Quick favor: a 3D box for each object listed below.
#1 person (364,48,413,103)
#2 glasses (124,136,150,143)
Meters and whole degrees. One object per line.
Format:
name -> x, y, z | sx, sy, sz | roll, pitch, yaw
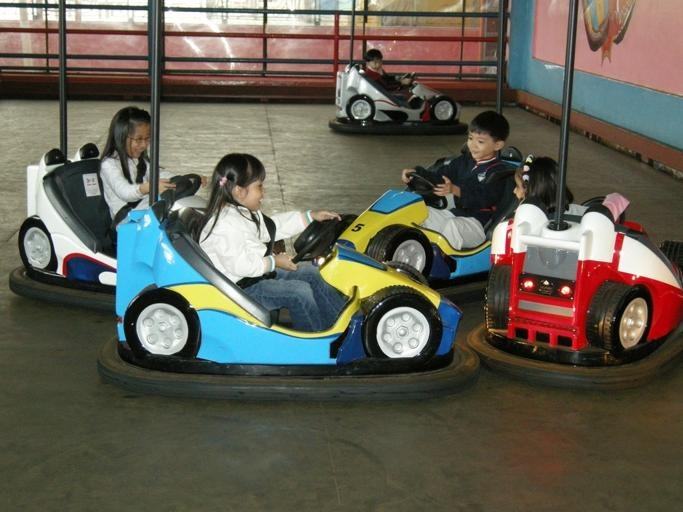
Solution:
person -> 0.613, -2.108, 7.286 | 0.747, 0.759, 0.470 | -1, 19, -8
glasses -> -0.882, -0.501, 2.620 | 0.087, 0.029, 0.085 | 1, 7, 17
